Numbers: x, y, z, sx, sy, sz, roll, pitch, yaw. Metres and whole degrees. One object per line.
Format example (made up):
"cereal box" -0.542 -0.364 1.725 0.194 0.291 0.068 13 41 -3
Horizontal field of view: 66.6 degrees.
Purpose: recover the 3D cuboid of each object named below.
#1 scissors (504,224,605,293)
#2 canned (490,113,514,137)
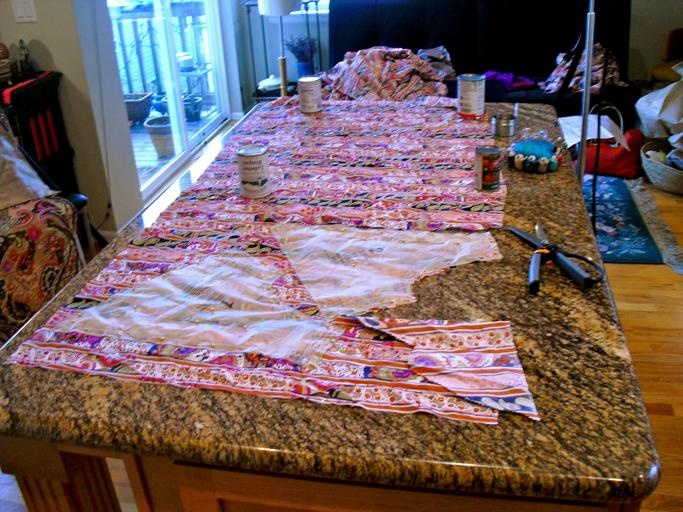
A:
"scissors" 0.458 0.001 1.118 0.125 0.026 0.172 -10 23 -7
"canned" 0.550 -0.444 1.770 0.085 0.057 0.088 -5 23 1
